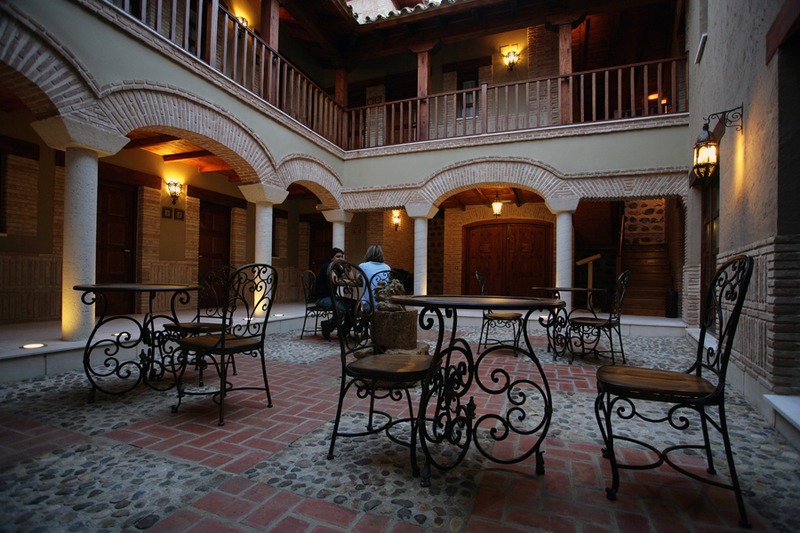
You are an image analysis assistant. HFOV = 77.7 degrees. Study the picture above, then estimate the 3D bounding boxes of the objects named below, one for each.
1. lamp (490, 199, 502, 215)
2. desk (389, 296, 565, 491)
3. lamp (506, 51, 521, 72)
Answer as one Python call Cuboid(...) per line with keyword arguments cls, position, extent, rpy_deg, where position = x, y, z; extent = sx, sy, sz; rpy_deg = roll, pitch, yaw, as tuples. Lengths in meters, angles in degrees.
Cuboid(cls="lamp", position=(2.793, -1.659, 13.970), extent=(0.358, 0.534, 0.393), rpy_deg=(3, 4, 20))
Cuboid(cls="desk", position=(0.988, 1.098, 5.580), extent=(1.370, 1.589, 2.812), rpy_deg=(-1, -2, 15))
Cuboid(cls="lamp", position=(2.866, -5.356, 12.964), extent=(0.370, 0.572, 0.368), rpy_deg=(-2, 7, -13))
